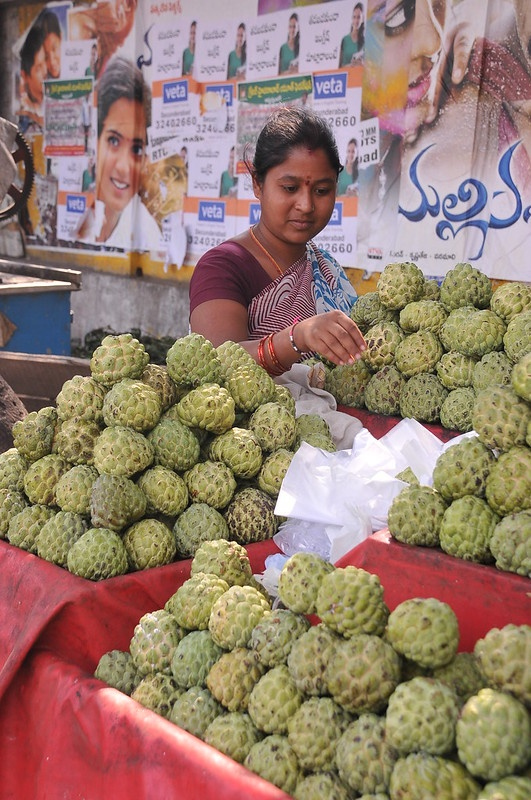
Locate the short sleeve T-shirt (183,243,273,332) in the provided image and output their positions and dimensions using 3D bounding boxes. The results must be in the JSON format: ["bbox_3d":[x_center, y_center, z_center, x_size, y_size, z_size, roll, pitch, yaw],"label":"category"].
[{"bbox_3d":[-0.088,-0.403,2.508,0.217,0.333,0.436,-2,-22,23],"label":"short sleeve T-shirt"}]

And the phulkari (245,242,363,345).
[{"bbox_3d":[0.129,-0.504,2.481,0.468,0.274,0.326,-9,-27,1],"label":"phulkari"}]

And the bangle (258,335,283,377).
[{"bbox_3d":[0.007,-0.137,2.013,0.041,0.106,0.112,-13,-43,-17],"label":"bangle"}]

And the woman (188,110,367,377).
[{"bbox_3d":[0.088,-0.547,2.497,0.773,0.959,0.543,8,-3,-38],"label":"woman"}]

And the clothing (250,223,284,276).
[{"bbox_3d":[0.000,-0.582,2.519,0.041,0.170,0.136,-34,5,43],"label":"clothing"}]
